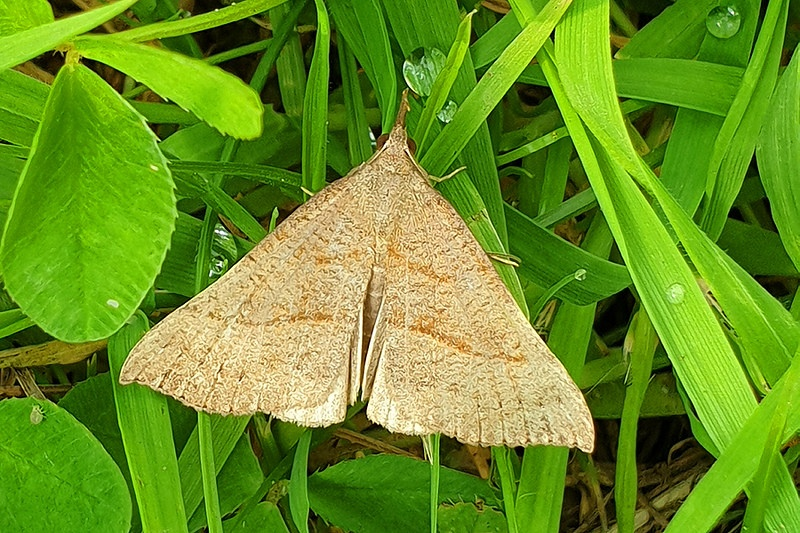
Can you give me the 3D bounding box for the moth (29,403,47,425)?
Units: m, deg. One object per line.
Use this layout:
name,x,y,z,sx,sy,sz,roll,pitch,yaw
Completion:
moth,-0.586,0.241,1.151,0.025,0.008,0.029,3,88,4
